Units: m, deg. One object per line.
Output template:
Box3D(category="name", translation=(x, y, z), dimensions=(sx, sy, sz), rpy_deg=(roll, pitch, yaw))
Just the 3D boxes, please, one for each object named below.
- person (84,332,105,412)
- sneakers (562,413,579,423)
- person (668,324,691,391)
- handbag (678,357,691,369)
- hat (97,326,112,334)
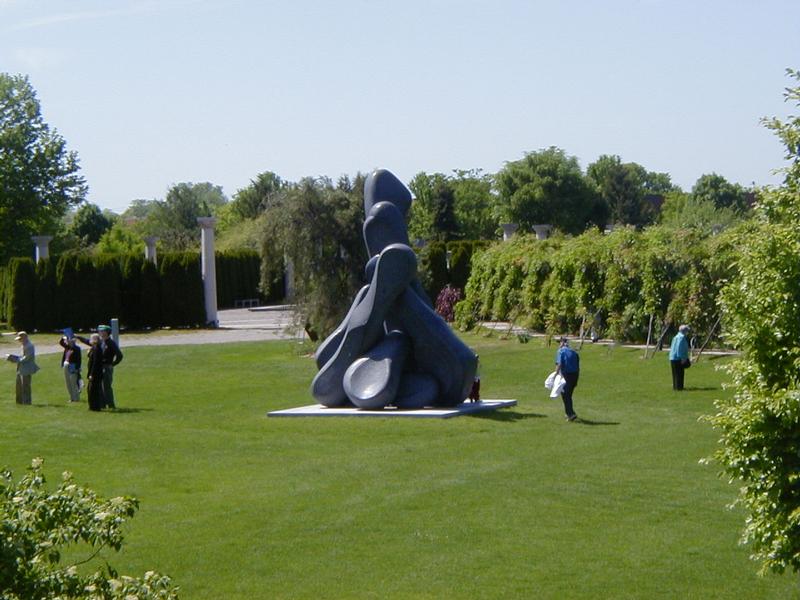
Box3D(category="person", translation=(-6.713, 1.605, 25.423), dimensions=(0.303, 1.648, 0.533), rpy_deg=(-1, 5, -13))
Box3D(category="sneakers", translation=(3.474, 2.418, 23.534), dimensions=(0.217, 0.116, 0.335), rpy_deg=(8, -37, 39))
Box3D(category="person", translation=(7.007, 1.394, 29.024), dimensions=(0.417, 1.534, 1.885), rpy_deg=(1, 5, 14))
Box3D(category="handbag", translation=(6.941, 1.560, 28.464), dimensions=(0.358, 0.147, 0.406), rpy_deg=(6, -45, 8))
Box3D(category="hat", translation=(-7.693, 0.790, 30.011), dimensions=(0.294, 0.331, 0.234), rpy_deg=(-4, 5, 23))
